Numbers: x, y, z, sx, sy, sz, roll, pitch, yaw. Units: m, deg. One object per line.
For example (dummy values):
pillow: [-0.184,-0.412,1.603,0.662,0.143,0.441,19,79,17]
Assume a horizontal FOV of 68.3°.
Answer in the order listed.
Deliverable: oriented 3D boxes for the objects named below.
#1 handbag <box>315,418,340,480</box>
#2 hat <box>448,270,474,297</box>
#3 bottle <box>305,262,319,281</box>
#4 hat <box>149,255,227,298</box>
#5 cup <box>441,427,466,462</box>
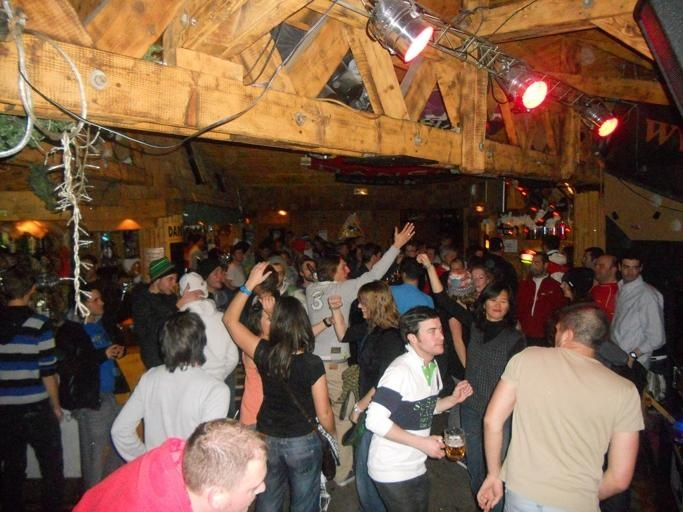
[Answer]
handbag: [-0.105,1.484,3.840,0.154,0.528,0.331,-1,-4,1]
hat: [1.280,0.287,5.399,0.204,0.275,0.251,-1,1,3]
bottle: [-0.346,0.174,6.284,0.182,0.260,0.062,3,-31,-42]
hat: [-1.703,0.202,5.555,0.749,0.359,0.506,1,3,-14]
cup: [0.798,1.351,3.638,0.236,0.223,0.164,-1,-5,5]
